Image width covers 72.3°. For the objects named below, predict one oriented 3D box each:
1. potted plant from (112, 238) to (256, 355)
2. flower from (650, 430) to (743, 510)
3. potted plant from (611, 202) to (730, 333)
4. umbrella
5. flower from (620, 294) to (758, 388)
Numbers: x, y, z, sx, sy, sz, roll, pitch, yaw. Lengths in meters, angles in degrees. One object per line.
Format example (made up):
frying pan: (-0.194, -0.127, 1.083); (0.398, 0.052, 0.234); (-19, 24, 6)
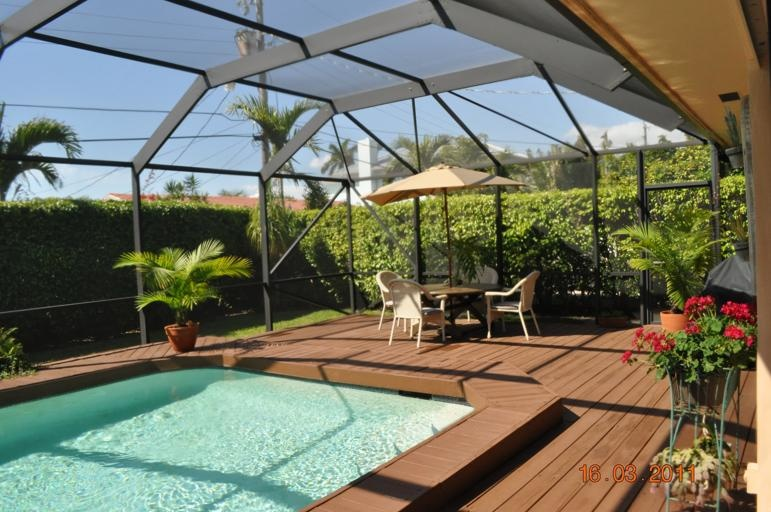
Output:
potted plant: (-3.552, 0.622, 9.088); (1.638, 1.645, 1.886); (-9, 10, -27)
flower: (2.582, 1.750, 4.362); (0.666, 0.590, 0.564); (-3, 9, 10)
potted plant: (4.767, 0.220, 8.972); (1.803, 1.507, 1.863); (-1, -5, 3)
umbrella: (0.803, -0.397, 8.825); (2.033, 2.210, 2.134); (-7, 9, -14)
flower: (2.775, 0.714, 4.686); (0.839, 0.601, 1.104); (1, 11, 34)
